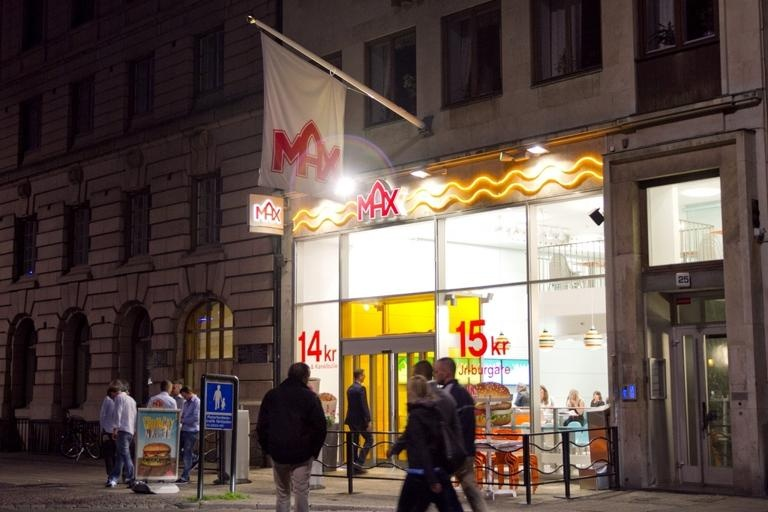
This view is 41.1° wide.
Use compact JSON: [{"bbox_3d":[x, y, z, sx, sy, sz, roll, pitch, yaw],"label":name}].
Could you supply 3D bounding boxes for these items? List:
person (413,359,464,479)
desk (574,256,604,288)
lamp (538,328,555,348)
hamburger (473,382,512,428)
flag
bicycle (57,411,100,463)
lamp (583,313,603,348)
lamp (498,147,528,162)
[{"bbox_3d":[1.170,3.042,19.583,0.580,1.888,1.312,-2,0,-6],"label":"person"},{"bbox_3d":[5.361,0.462,27.013,0.689,0.765,0.723,3,-5,-7],"label":"desk"},{"bbox_3d":[4.381,2.290,28.000,0.463,0.579,0.491,0,4,14],"label":"lamp"},{"bbox_3d":[2.606,3.703,25.306,0.980,0.793,0.982,3,-7,-36],"label":"hamburger"},{"bbox_3d":[-2.357,-3.717,28.474,0.784,3.904,2.885,-13,-16,42],"label":"flag"},{"bbox_3d":[-10.672,6.370,35.816,1.036,1.623,2.696,5,-15,-28],"label":"bicycle"},{"bbox_3d":[5.563,2.089,27.646,0.547,0.779,0.685,-8,-14,27],"label":"lamp"},{"bbox_3d":[3.551,-2.722,27.943,0.836,0.268,0.465,-8,-14,23],"label":"lamp"}]
